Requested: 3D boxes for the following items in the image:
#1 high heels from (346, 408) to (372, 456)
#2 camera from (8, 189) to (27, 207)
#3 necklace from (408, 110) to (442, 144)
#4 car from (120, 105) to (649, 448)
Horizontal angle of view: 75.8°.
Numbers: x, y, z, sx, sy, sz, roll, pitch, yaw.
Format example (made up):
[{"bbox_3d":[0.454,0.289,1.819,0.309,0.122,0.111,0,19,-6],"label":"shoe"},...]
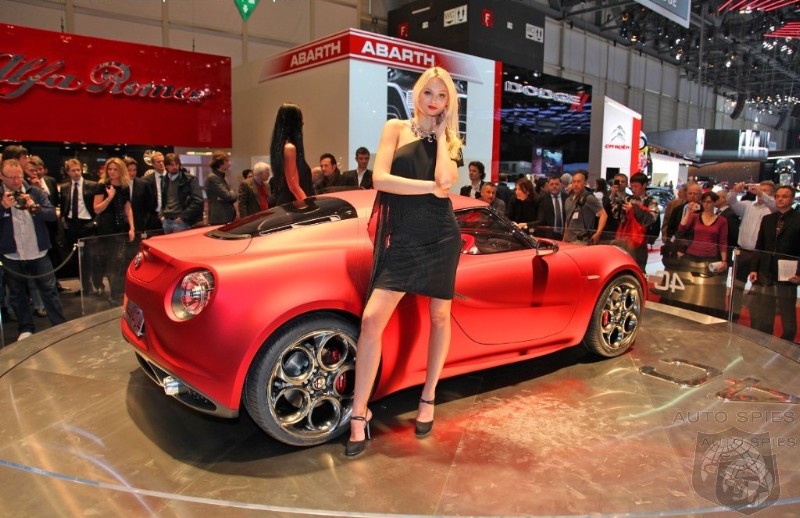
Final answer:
[{"bbox_3d":[-0.316,1.391,4.022,0.116,0.180,0.407,1,-7,12],"label":"high heels"},{"bbox_3d":[-4.454,-0.693,5.973,0.125,0.176,0.324,-10,17,-36],"label":"camera"},{"bbox_3d":[0.226,-1.036,3.950,0.166,0.242,0.067,18,25,-13],"label":"necklace"},{"bbox_3d":[0.019,0.087,4.653,3.955,1.410,2.120,-7,15,-29],"label":"car"}]
